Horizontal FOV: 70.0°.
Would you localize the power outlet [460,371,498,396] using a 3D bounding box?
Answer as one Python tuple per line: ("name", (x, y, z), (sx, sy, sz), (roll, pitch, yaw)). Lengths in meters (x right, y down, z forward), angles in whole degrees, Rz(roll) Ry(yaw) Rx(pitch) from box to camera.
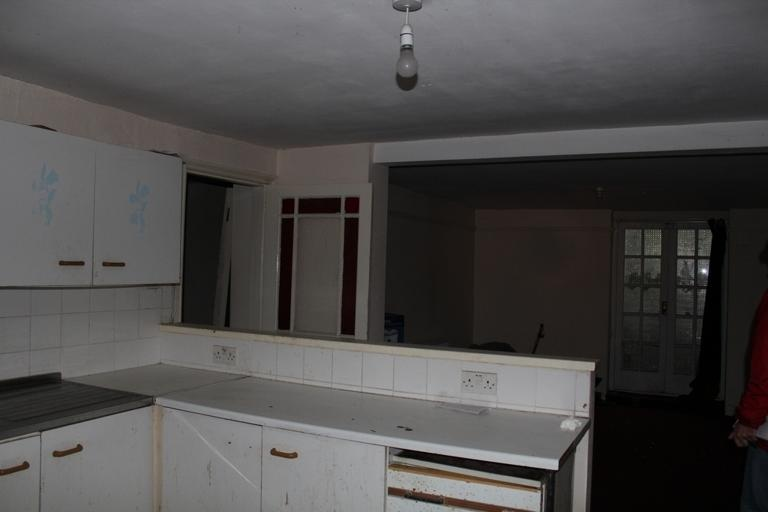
("power outlet", (0.566, 0.743, 3.241), (0.209, 0.135, 0.032), (2, 15, 14))
